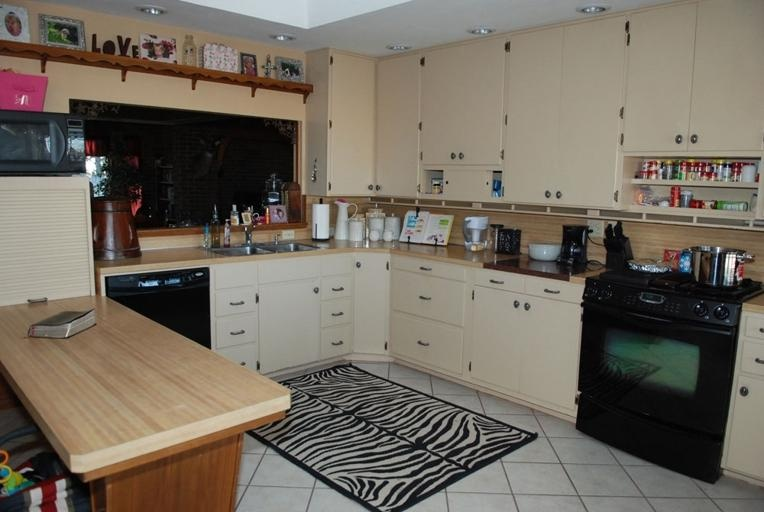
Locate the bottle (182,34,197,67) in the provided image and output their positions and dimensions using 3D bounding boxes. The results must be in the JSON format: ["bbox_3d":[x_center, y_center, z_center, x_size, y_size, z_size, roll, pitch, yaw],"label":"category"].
[{"bbox_3d":[-1.774,-1.903,4.678,0.153,0.275,0.065,-6,11,-33],"label":"bottle"}]

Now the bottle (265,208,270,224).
[{"bbox_3d":[-1.203,-0.429,5.332,0.041,0.162,0.071,-2,10,-12],"label":"bottle"}]

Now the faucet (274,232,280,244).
[{"bbox_3d":[-1.084,-0.187,5.257,0.079,0.097,0.118,-3,10,-17],"label":"faucet"}]

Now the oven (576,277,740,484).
[{"bbox_3d":[2.205,0.818,3.975,1.058,1.286,1.154,-4,10,-35],"label":"oven"}]

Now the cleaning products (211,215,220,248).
[{"bbox_3d":[-1.614,-0.253,4.936,0.088,0.295,0.381,-3,10,-17],"label":"cleaning products"}]

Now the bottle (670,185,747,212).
[{"bbox_3d":[2.496,-0.446,3.874,0.533,0.187,0.301,8,12,41],"label":"bottle"}]

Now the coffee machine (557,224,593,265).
[{"bbox_3d":[1.696,-0.104,4.462,0.233,0.326,0.190,4,10,19],"label":"coffee machine"}]

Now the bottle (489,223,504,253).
[{"bbox_3d":[1.124,-0.182,4.983,0.121,0.262,0.276,2,9,12],"label":"bottle"}]

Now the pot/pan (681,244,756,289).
[{"bbox_3d":[2.424,0.086,3.648,0.324,0.245,0.467,-5,10,-27],"label":"pot/pan"}]

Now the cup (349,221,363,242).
[{"bbox_3d":[-0.264,-0.269,5.354,0.160,0.218,0.178,-1,9,-9],"label":"cup"}]

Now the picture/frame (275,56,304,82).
[{"bbox_3d":[-0.971,-1.938,5.247,0.350,0.285,0.035,-3,8,-39],"label":"picture/frame"}]

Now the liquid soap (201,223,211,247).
[{"bbox_3d":[-1.646,-0.184,4.777,0.071,0.210,0.186,-2,10,-15],"label":"liquid soap"}]

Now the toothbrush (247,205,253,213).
[{"bbox_3d":[-1.359,-0.489,5.250,0.055,0.070,0.020,-2,-27,-25],"label":"toothbrush"}]

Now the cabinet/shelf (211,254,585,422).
[{"bbox_3d":[0.104,0.566,4.456,1.983,0.759,1.803,7,5,41],"label":"cabinet/shelf"}]

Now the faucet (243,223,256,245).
[{"bbox_3d":[-1.324,-0.217,5.056,0.110,0.209,0.263,-2,9,-14],"label":"faucet"}]

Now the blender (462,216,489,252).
[{"bbox_3d":[0.877,-0.224,4.959,0.334,0.315,0.209,-6,7,-42],"label":"blender"}]

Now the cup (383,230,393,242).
[{"bbox_3d":[0.068,-0.214,5.452,0.113,0.100,0.110,0,6,0],"label":"cup"}]

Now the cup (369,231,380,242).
[{"bbox_3d":[-0.078,-0.212,5.503,0.118,0.094,0.115,-1,4,0],"label":"cup"}]

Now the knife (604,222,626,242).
[{"bbox_3d":[1.960,-0.201,4.228,0.196,0.219,0.172,-3,3,-38],"label":"knife"}]
